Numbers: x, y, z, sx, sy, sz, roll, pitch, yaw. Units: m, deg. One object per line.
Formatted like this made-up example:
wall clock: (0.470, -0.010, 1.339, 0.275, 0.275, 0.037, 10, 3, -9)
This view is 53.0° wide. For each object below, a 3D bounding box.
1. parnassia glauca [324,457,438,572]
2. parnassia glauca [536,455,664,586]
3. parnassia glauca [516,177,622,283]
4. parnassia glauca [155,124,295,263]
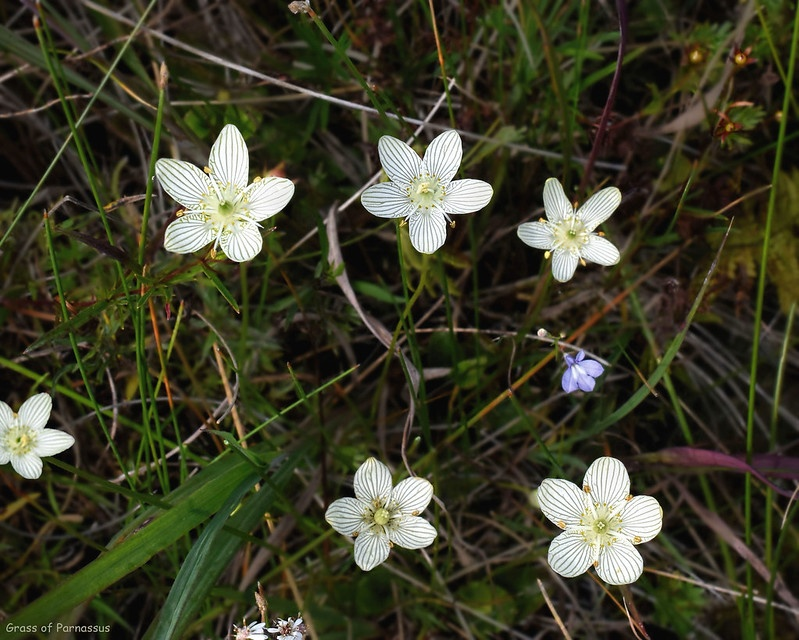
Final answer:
parnassia glauca: (-0.065, 0.750, 3.254, 0.411, 0.174, 0.428, -42, 88, 3)
parnassia glauca: (0.780, 0.801, 3.127, 0.449, 0.177, 0.479, -11, 77, -1)
parnassia glauca: (0.693, -0.360, 3.288, 0.406, 0.191, 0.374, 2, 76, 2)
parnassia glauca: (-0.697, -0.469, 3.258, 0.466, 0.200, 0.595, 2, 93, 7)
